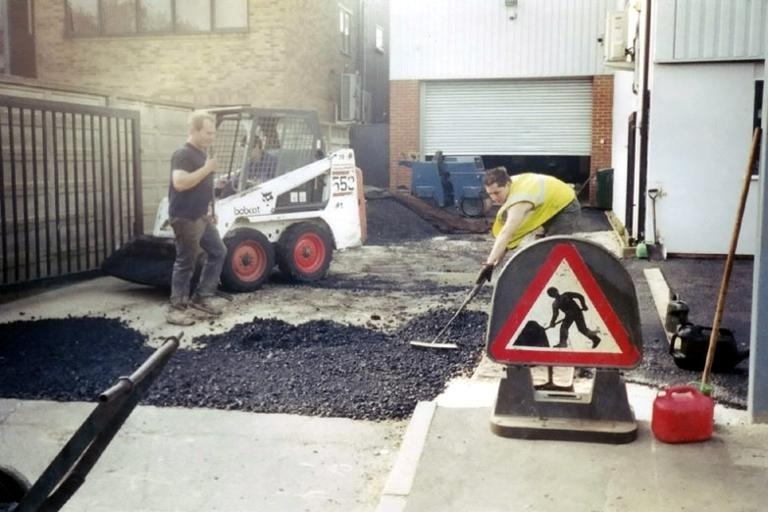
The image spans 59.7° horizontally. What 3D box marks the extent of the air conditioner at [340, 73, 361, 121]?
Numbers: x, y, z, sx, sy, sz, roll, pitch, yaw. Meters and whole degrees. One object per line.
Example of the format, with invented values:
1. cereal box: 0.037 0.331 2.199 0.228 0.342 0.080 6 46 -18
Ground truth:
1. air conditioner: -1.060 -4.974 20.871 0.483 1.443 1.434 0 4 4

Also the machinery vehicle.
1. machinery vehicle: -1.915 -0.946 10.543 3.586 2.416 2.007 -7 12 -25

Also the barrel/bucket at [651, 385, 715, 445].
1. barrel/bucket: 2.421 1.263 5.483 0.492 0.490 0.347 -4 4 3

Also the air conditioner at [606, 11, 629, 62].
1. air conditioner: 4.948 -4.669 14.226 0.385 1.019 1.037 3 16 14

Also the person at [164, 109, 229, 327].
1. person: -2.395 -0.506 8.317 0.776 2.480 0.957 -5 16 -15

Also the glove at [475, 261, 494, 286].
1. glove: 1.014 0.169 6.702 0.129 0.223 0.095 11 35 -7

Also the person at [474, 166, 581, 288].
1. person: 1.513 -0.449 7.305 0.557 1.067 1.909 10 19 36
